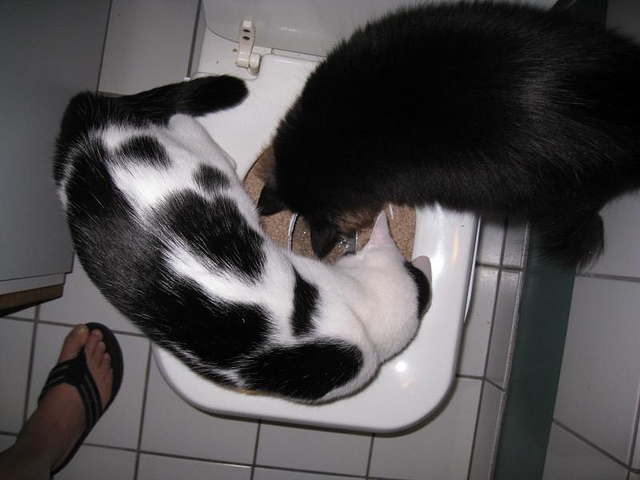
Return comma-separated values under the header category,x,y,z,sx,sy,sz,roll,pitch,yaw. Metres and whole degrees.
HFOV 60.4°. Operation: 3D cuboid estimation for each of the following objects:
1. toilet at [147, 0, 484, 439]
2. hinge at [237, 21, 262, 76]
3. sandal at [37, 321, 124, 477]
category,x,y,z,sx,sy,sz,roll,pitch,yaw
toilet,0.019,-0.132,1.672,0.698,1.059,1.180,3,85,4
hinge,-0.186,-0.513,1.389,0.038,0.142,0.078,3,63,-10
sandal,-0.650,0.396,1.584,0.179,0.077,0.493,24,98,4
